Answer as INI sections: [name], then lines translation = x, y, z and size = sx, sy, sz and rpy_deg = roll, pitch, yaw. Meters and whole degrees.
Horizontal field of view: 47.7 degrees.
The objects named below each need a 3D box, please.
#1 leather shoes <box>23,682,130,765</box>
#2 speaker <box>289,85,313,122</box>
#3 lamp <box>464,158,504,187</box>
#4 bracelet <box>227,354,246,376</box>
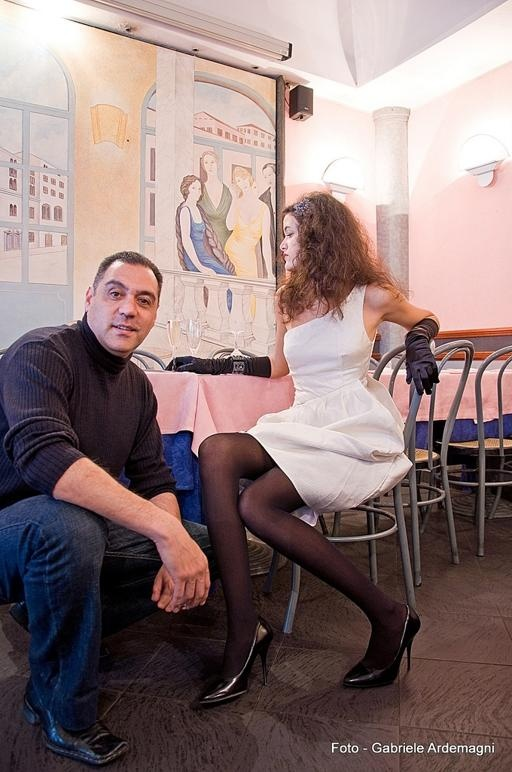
[leather shoes]
translation = -0.314, 0.558, 0.996
size = 0.196, 0.084, 0.078
rpy_deg = -2, -6, 38
[speaker]
translation = 0.382, -2.357, 4.832
size = 0.202, 0.210, 0.255
rpy_deg = 0, -1, -7
[lamp]
translation = 1.842, -1.722, 4.644
size = 0.045, 0.162, 0.278
rpy_deg = -15, 14, -36
[bracelet]
translation = -0.059, -0.060, 1.733
size = 0.049, 0.049, 0.048
rpy_deg = -1, 4, -12
